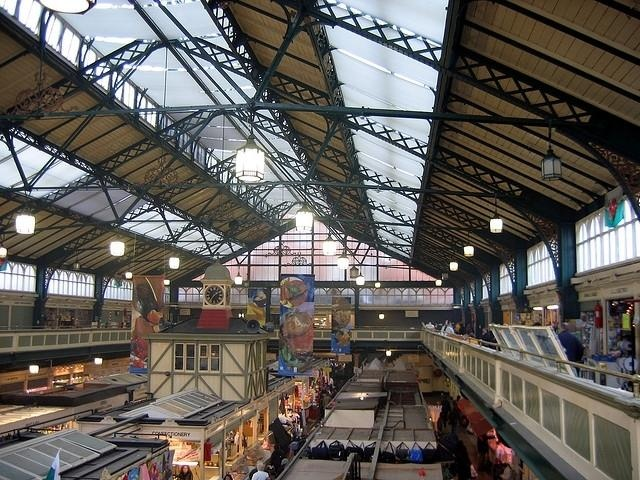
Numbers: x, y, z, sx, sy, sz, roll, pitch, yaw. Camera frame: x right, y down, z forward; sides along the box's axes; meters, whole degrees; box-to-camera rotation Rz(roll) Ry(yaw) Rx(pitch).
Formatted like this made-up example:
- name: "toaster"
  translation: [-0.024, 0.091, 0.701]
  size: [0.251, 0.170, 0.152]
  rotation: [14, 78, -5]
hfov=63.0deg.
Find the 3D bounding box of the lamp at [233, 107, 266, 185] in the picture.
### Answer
- name: "lamp"
  translation: [-1.395, -1.678, 10.371]
  size: [0.544, 1.100, 0.715]
  rotation: [0, -12, -9]
